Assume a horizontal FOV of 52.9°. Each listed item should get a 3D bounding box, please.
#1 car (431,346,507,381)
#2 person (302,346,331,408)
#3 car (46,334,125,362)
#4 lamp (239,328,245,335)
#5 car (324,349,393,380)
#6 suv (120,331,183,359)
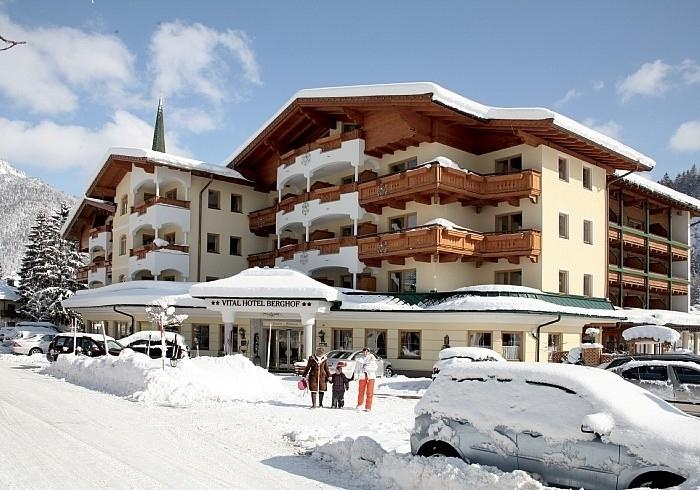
[{"bbox_3d":[4.011,3.863,25.101,2.637,1.145,1.900,1,-8,-5],"label":"car"},{"bbox_3d":[-1.288,5.161,27.246,0.939,2.246,1.485,5,-15,-3],"label":"person"},{"bbox_3d":[-14.481,5.643,39.080,3.483,1.718,4.101,11,-17,-26],"label":"car"},{"bbox_3d":[-6.764,5.411,44.060,0.388,0.443,0.325,0,5,37],"label":"lamp"},{"bbox_3d":[0.406,6.218,36.494,1.476,1.002,3.046,-4,-5,43],"label":"car"},{"bbox_3d":[-10.547,5.338,38.219,3.223,1.724,3.374,8,-16,-16],"label":"suv"}]
